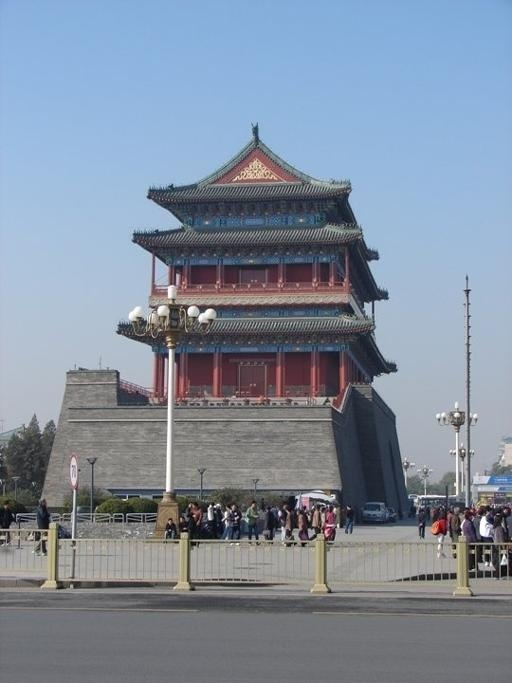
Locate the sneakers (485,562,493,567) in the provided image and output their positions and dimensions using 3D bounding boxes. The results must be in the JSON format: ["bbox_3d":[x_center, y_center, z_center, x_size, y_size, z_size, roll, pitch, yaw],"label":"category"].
[{"bbox_3d":[4.120,3.984,31.630,0.076,0.108,0.237,2,-3,14],"label":"sneakers"}]
